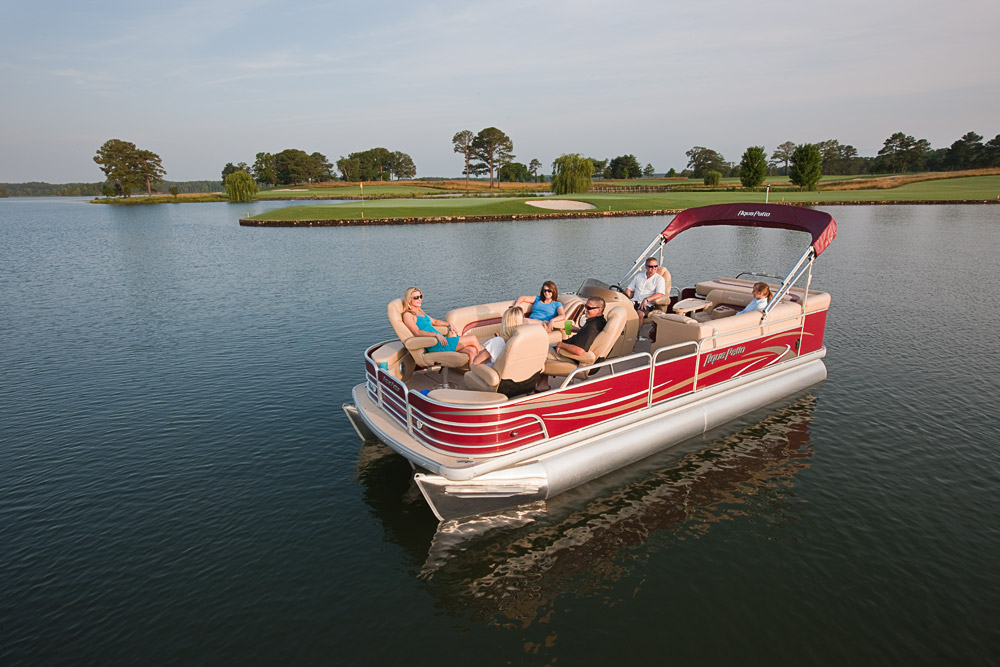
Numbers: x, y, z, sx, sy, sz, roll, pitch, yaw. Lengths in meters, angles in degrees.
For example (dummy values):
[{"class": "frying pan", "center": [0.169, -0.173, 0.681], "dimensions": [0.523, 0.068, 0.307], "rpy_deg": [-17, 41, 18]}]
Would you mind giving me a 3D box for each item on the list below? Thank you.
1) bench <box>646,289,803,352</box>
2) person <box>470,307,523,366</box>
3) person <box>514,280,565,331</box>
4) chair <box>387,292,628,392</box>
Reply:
[{"class": "bench", "center": [4.892, -0.318, 15.724], "dimensions": [2.749, 0.794, 1.791], "rpy_deg": [-10, 18, -9]}, {"class": "person", "center": [-0.035, 0.037, 12.384], "dimensions": [0.714, 1.117, 1.128], "rpy_deg": [-13, 19, -25]}, {"class": "person", "center": [0.819, -0.584, 14.563], "dimensions": [0.880, 1.008, 1.027], "rpy_deg": [23, 19, 37]}, {"class": "chair", "center": [-0.341, 0.494, 13.140], "dimensions": [3.266, 0.979, 2.632], "rpy_deg": [12, 18, 41]}]
